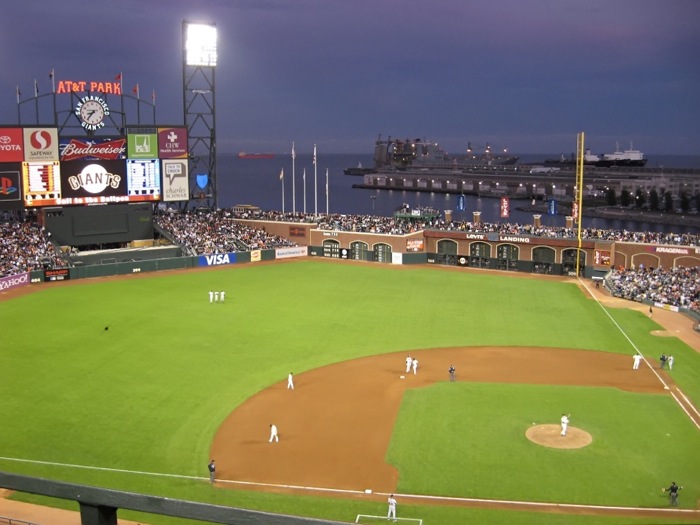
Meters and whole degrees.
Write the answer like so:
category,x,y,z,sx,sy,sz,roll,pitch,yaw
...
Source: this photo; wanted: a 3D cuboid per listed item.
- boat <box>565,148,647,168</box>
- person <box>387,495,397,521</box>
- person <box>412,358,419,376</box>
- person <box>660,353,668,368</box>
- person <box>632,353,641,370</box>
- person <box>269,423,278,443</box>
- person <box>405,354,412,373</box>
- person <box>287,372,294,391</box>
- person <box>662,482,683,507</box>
category,x,y,z,sx,sy,sz,roll,pitch,yaw
boat,87.753,-34.057,250.494,17.065,5.208,51.990,4,11,19
person,1.992,11.031,35.394,0.441,1.074,1.266,1,10,3
person,4.250,6.698,49.237,0.445,0.818,0.182,7,0,5
person,20.446,6.277,49.545,0.437,0.905,1.249,5,11,23
person,18.614,6.471,49.479,0.659,0.223,1.133,13,-29,12
person,-4.068,8.965,41.160,0.513,0.960,1.300,-1,10,-5
person,3.913,6.482,49.615,0.472,0.915,1.437,1,10,4
person,-3.589,7.043,47.015,0.438,1.073,1.802,0,10,-5
person,15.159,10.644,35.755,0.691,0.744,1.136,1,18,14
